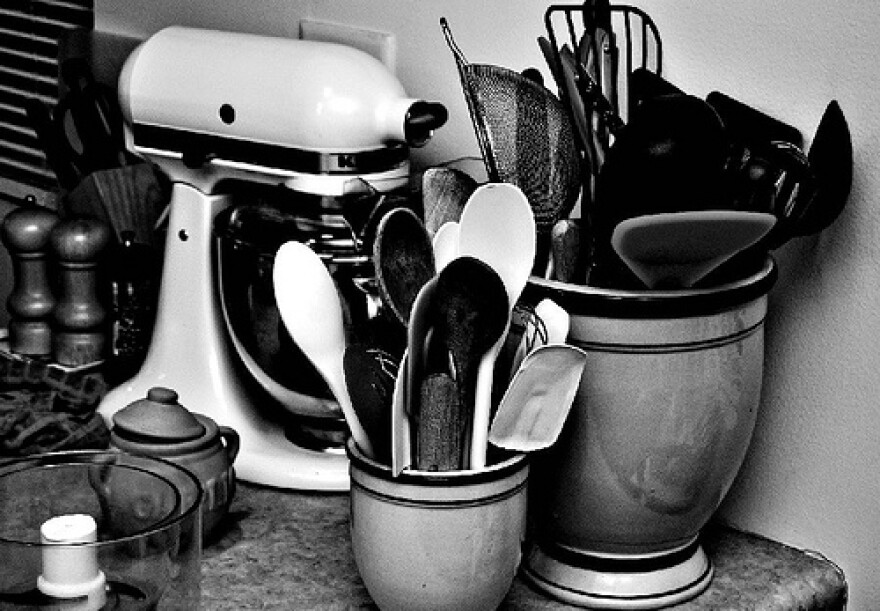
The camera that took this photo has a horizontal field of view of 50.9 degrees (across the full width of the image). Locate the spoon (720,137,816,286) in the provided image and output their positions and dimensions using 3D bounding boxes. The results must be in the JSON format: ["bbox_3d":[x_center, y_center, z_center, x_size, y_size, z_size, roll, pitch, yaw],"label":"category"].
[{"bbox_3d":[0.284,-0.080,0.802,0.047,0.117,0.097,5,3,8],"label":"spoon"}]

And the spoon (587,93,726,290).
[{"bbox_3d":[0.208,-0.123,0.815,0.085,0.123,0.071,-6,-11,22],"label":"spoon"}]

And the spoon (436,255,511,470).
[{"bbox_3d":[0.023,0.050,0.775,0.061,0.184,0.025,4,14,1],"label":"spoon"}]

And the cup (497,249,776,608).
[{"bbox_3d":[0.183,0.114,0.962,0.276,0.301,0.299,0,4,0],"label":"cup"}]

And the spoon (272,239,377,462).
[{"bbox_3d":[-0.105,0.037,0.825,0.084,0.170,0.107,0,14,-15],"label":"spoon"}]

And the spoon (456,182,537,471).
[{"bbox_3d":[0.048,0.027,0.824,0.054,0.273,0.040,7,1,24],"label":"spoon"}]

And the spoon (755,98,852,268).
[{"bbox_3d":[0.335,-0.103,0.873,0.054,0.180,0.024,20,9,-1],"label":"spoon"}]
